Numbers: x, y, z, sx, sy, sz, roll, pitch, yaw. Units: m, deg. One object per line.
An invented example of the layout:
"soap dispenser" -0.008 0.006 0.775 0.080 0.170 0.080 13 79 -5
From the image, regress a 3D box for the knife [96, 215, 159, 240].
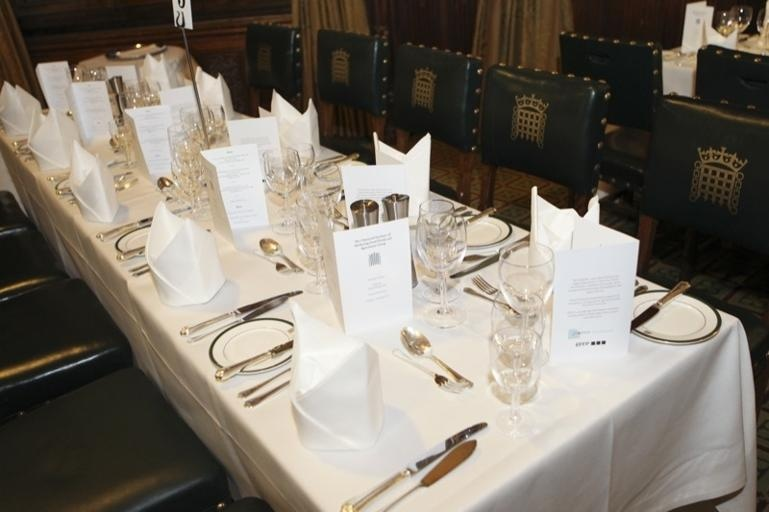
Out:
"knife" -0.932 -0.100 1.894 0.039 0.024 0.249 28 32 33

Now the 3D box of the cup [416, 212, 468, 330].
"cup" 0.156 0.046 1.449 0.120 0.331 0.140 -20 37 -19

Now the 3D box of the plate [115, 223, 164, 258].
"plate" -0.871 -0.051 1.854 0.113 0.019 0.133 1 41 0

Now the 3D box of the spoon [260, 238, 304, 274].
"spoon" -0.347 -0.004 1.730 0.064 0.052 0.296 -19 33 -17

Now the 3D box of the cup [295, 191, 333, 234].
"cup" -0.183 -0.123 1.496 0.112 0.127 0.114 -1 21 0

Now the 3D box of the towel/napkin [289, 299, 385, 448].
"towel/napkin" -0.110 0.260 1.230 0.187 0.248 0.237 -21 31 -39

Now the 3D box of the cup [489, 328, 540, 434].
"cup" 0.293 0.277 1.191 0.113 0.187 0.157 5 31 15

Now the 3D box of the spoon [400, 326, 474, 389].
"spoon" 0.117 0.244 1.357 0.072 0.056 0.291 -22 36 -24

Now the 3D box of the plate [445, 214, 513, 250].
"plate" 0.343 -0.073 1.732 0.118 0.022 0.128 -3 39 8
